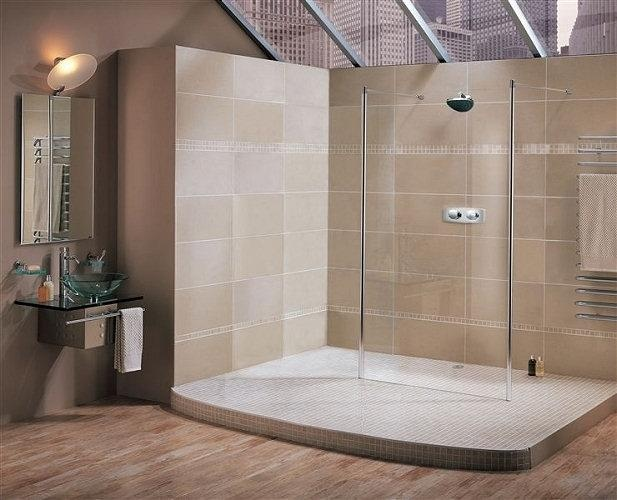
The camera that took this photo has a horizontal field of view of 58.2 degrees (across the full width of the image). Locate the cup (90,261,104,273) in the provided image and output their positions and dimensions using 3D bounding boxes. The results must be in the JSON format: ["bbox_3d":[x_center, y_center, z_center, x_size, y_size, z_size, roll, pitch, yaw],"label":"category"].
[{"bbox_3d":[-1.587,0.118,4.207,0.067,0.100,0.131,0,13,8],"label":"cup"}]

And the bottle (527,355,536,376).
[{"bbox_3d":[1.785,0.916,4.420,0.072,0.156,0.029,-3,12,-7],"label":"bottle"}]

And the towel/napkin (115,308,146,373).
[{"bbox_3d":[-1.291,0.642,4.009,0.231,0.461,0.113,-8,14,-25],"label":"towel/napkin"}]

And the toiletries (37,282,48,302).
[{"bbox_3d":[-1.851,0.291,3.875,0.079,0.112,0.063,3,13,20],"label":"toiletries"}]

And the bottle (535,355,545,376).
[{"bbox_3d":[1.846,0.920,4.419,0.079,0.159,0.044,-4,12,-9],"label":"bottle"}]

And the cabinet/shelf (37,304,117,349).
[{"bbox_3d":[-1.635,0.532,3.841,0.528,0.295,0.238,-3,13,-5],"label":"cabinet/shelf"}]

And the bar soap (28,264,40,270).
[{"bbox_3d":[-1.898,0.113,3.845,0.075,0.034,0.121,-6,14,-18],"label":"bar soap"}]
